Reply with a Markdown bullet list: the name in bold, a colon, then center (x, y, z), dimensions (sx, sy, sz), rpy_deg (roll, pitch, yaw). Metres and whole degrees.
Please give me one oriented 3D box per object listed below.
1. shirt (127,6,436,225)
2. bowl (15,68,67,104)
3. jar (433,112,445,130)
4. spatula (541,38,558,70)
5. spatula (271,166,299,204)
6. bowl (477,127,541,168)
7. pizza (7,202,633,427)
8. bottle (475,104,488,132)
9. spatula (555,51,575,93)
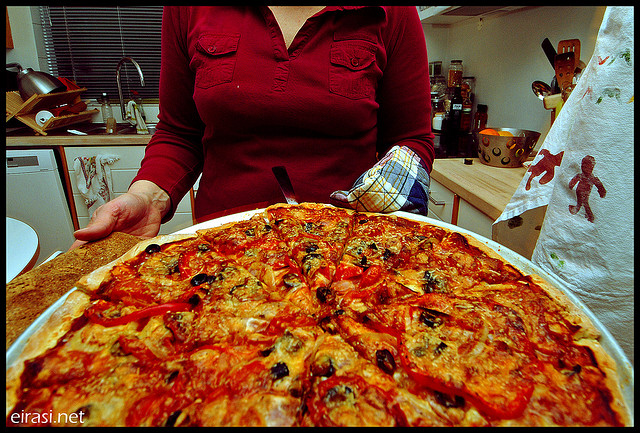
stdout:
- **shirt**: center (-0.214, -0.426, 1.865), dimensions (1.192, 0.940, 0.693), rpy_deg (2, 15, -13)
- **bowl**: center (-2.444, -1.147, 3.143), dimensions (0.337, 0.273, 0.305), rpy_deg (-12, 22, -30)
- **jar**: center (0.950, -0.761, 2.885), dimensions (0.136, 0.136, 0.128), rpy_deg (0, 5, 0)
- **spatula**: center (1.259, -0.892, 1.967), dimensions (0.078, 0.174, 0.321), rpy_deg (11, 21, 28)
- **spatula**: center (-0.133, -0.126, 1.440), dimensions (0.056, 0.181, 0.025), rpy_deg (-32, 22, -16)
- **bowl**: center (1.164, -0.417, 2.197), dimensions (0.322, 0.217, 0.330), rpy_deg (0, 19, 0)
- **pizza**: center (-0.077, 0.180, 1.226), dimensions (1.225, 0.422, 0.909), rpy_deg (-1, 7, -13)
- **bottle**: center (1.238, -0.751, 2.735), dimensions (0.087, 0.196, 0.163), rpy_deg (8, 21, 23)
- **spatula**: center (1.230, -0.740, 1.805), dimensions (0.019, 0.149, 0.107), rpy_deg (-14, 23, -32)
